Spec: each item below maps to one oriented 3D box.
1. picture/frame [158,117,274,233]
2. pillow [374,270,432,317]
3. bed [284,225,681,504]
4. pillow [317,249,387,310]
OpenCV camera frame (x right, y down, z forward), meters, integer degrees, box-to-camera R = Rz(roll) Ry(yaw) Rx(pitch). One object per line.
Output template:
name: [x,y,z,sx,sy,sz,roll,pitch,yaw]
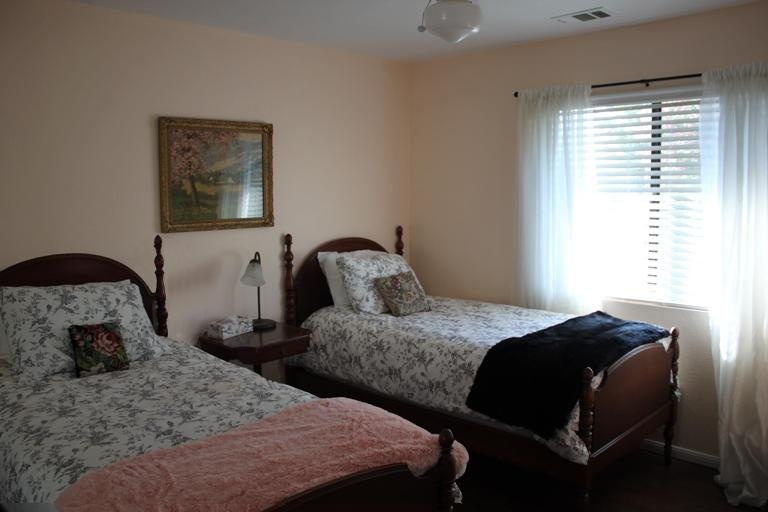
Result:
picture/frame: [-1.395,-0.666,4.355,0.930,0.885,0.092,-6,11,-41]
pillow: [0.162,0.335,4.668,0.419,0.376,0.125,-18,-13,-39]
bed: [0.799,0.666,4.655,2.878,1.997,1.784,6,10,39]
pillow: [-0.361,0.189,4.804,0.499,0.492,0.114,-2,-14,-44]
